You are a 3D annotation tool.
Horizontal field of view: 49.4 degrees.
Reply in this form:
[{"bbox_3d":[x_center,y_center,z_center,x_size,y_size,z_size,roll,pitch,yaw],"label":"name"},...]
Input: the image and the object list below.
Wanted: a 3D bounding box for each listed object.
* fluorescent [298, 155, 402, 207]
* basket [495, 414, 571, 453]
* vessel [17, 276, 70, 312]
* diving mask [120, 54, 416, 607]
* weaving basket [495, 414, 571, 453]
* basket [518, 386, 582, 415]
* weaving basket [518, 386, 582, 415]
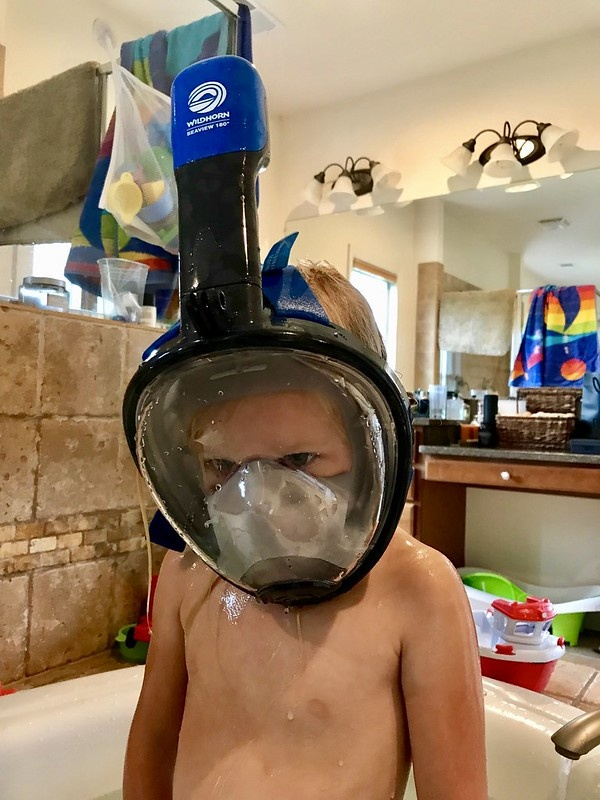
[{"bbox_3d":[0.218,-0.873,2.602,0.302,0.147,0.159,2,0,32],"label":"fluorescent"},{"bbox_3d":[0.685,0.100,1.887,0.152,0.064,0.108,-6,-14,37],"label":"basket"},{"bbox_3d":[-0.403,-0.169,1.029,0.070,0.048,0.070,7,-2,16],"label":"vessel"},{"bbox_3d":[-0.018,-0.023,0.376,0.151,0.299,0.132,3,0,-28],"label":"diving mask"},{"bbox_3d":[0.680,0.100,1.891,0.152,0.064,0.108,-6,-14,37],"label":"weaving basket"},{"bbox_3d":[0.764,0.002,2.032,0.049,0.086,0.213,3,0,-39],"label":"basket"},{"bbox_3d":[0.774,0.000,2.013,0.120,0.085,0.052,-2,16,37],"label":"weaving basket"}]
